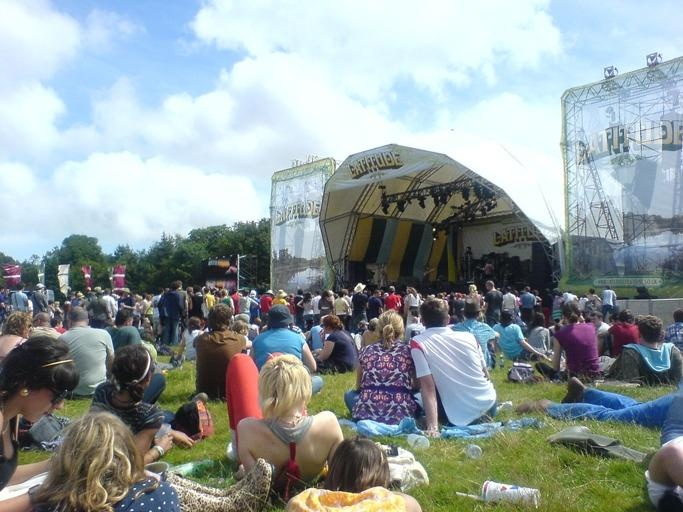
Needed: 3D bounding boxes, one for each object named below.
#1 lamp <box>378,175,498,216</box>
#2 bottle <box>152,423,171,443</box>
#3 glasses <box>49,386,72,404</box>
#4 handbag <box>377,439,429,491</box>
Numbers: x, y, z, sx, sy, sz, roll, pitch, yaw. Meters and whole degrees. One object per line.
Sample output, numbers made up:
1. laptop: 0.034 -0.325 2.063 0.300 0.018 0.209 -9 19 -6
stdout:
1. lamp: 3.638 -2.356 26.145 2.354 0.832 2.679 -4 -11 9
2. bottle: -2.015 2.050 7.630 0.185 0.243 0.126 8 10 -37
3. glasses: -2.483 1.250 6.081 0.100 0.059 0.146 -16 4 13
4. handbag: 0.663 2.172 6.897 0.516 0.412 0.406 1 -6 -19
